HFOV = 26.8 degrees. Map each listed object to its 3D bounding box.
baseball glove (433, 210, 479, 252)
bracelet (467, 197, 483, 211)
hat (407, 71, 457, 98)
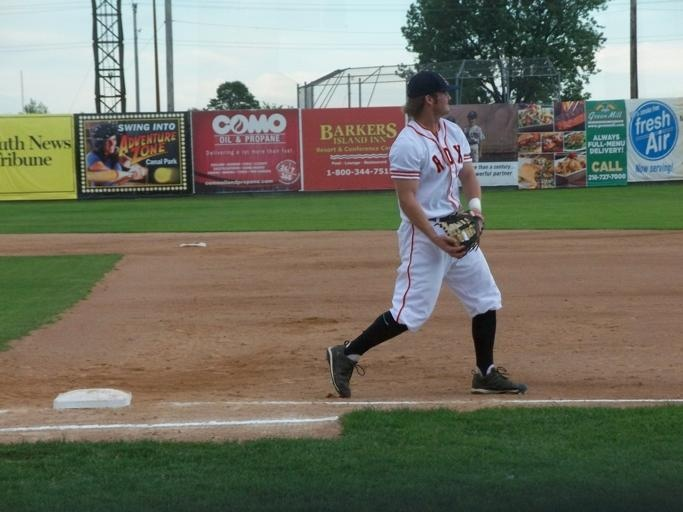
[{"bbox_3d":[1.486,-0.354,18.200,0.563,0.134,0.488,26,-34,-22],"label":"baseball glove"},{"bbox_3d":[1.740,-0.668,18.566,0.148,0.160,0.179,4,-14,-36],"label":"bracelet"},{"bbox_3d":[1.121,-2.194,18.302,0.519,0.258,0.334,-20,22,-8],"label":"hat"}]
